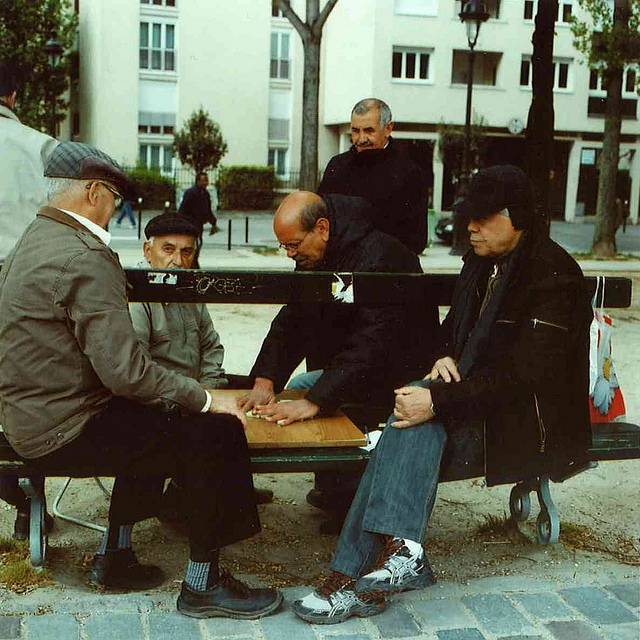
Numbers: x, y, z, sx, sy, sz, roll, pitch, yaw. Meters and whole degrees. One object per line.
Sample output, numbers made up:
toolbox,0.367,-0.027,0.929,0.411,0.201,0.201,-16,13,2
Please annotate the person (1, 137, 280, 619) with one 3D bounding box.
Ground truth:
person,-0.646,0.212,3.065,0.883,1.643,0.368,0,9,-6

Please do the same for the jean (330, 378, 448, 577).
jean,0.275,0.618,3.214,0.225,0.772,0.216,17,-15,12

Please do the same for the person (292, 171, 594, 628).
person,0.481,0.230,3.320,1.083,1.586,0.413,-3,10,-24
